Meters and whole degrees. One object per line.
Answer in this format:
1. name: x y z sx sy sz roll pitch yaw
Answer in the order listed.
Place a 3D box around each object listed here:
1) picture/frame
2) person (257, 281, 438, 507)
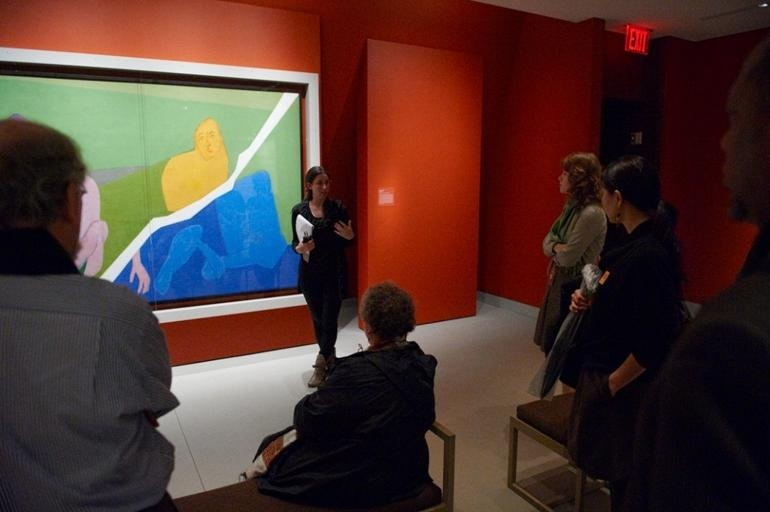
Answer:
1. picture/frame: -1.509 -0.570 3.734 2.125 1.942 0.161 -8 17 -22
2. person: -0.087 0.560 2.460 0.790 0.943 0.769 2 3 -39
